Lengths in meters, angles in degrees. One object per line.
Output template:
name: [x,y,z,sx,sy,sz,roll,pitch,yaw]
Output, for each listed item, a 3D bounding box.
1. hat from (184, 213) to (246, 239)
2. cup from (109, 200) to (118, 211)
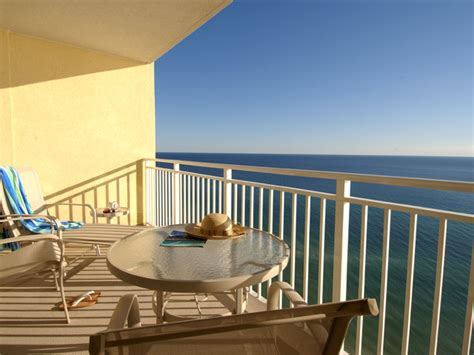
hat: [-0.150,0.341,2.367,0.287,0.067,0.244,-1,7,-8]
cup: [-1.701,0.382,4.666,0.093,0.105,0.139,3,9,-8]
